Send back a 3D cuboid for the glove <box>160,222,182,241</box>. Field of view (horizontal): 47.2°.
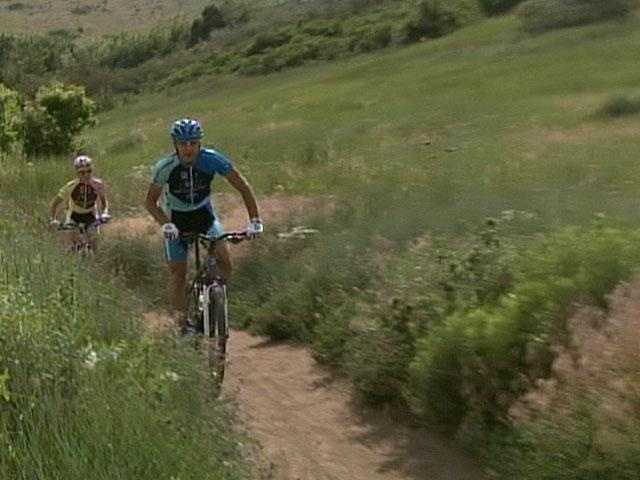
[{"bbox_3d":[-2.497,-0.127,12.373,0.259,0.307,0.208,0,5,20],"label":"glove"}]

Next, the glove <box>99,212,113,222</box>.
[{"bbox_3d":[-4.876,-0.517,16.780,0.233,0.121,0.315,-4,22,-22],"label":"glove"}]

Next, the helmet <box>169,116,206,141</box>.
[{"bbox_3d":[-2.262,-1.882,12.500,0.502,0.395,0.392,-11,16,-17],"label":"helmet"}]

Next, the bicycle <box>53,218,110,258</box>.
[{"bbox_3d":[-5.000,-0.062,15.431,0.666,0.741,1.068,-6,8,-39],"label":"bicycle"}]
